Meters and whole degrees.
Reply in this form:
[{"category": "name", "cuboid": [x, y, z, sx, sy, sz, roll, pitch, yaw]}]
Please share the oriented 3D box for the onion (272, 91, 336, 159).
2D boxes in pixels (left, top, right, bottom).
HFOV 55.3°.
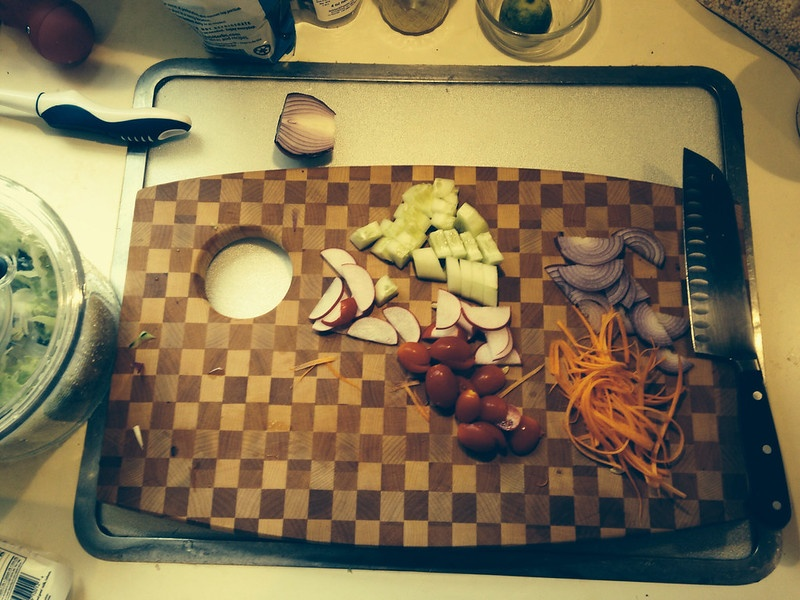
[{"category": "onion", "cuboid": [-0.375, -0.691, 3.083, 0.226, 0.115, 0.243, 9, 68, -6]}]
